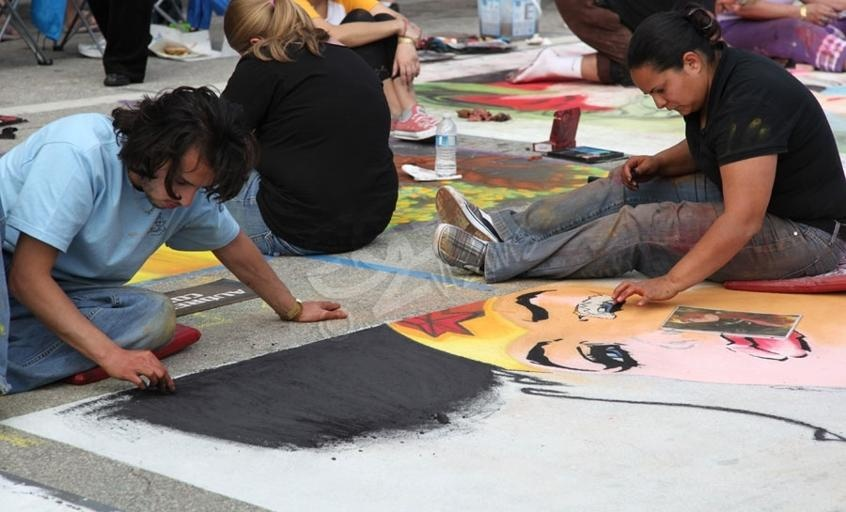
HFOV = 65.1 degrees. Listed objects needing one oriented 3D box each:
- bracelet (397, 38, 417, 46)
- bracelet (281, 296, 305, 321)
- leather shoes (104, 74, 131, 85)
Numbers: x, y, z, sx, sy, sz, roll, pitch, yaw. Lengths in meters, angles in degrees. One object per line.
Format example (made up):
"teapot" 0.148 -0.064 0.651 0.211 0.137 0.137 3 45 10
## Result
"bracelet" -0.178 -2.071 6.389 0.115 0.046 0.099 12 17 27
"bracelet" -0.612 0.260 3.170 0.148 0.076 0.081 -17 48 49
"leather shoes" -3.624 -2.089 7.853 0.315 0.072 0.152 4 10 27
